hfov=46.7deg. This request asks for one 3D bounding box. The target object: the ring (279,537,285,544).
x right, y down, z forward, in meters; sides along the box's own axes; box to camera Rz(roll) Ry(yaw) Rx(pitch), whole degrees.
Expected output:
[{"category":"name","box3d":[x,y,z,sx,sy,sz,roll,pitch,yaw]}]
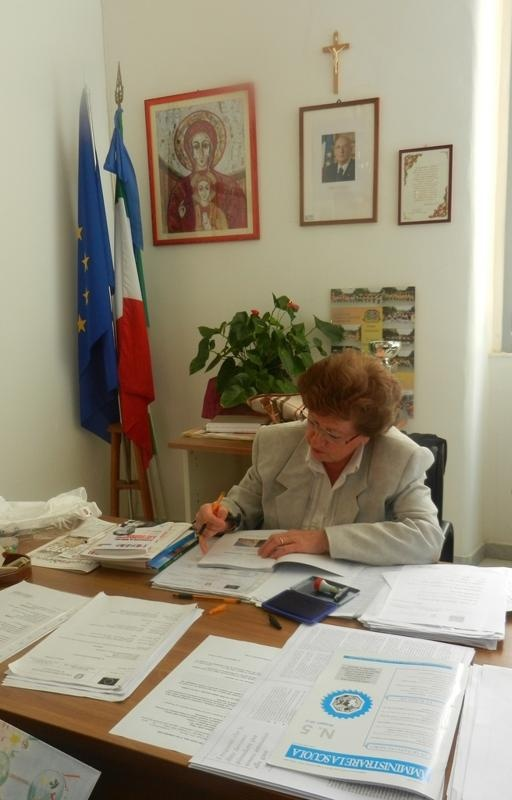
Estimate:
[{"category":"ring","box3d":[0.057,0.308,1.311,0.010,0.010,0.003,-4,9,10]}]

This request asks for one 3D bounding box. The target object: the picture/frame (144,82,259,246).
[{"category":"picture/frame","box3d":[-0.254,-1.209,2.993,0.765,0.951,0.041,4,16,24]}]

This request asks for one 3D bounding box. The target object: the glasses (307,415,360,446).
[{"category":"glasses","box3d":[0.179,0.070,1.411,0.115,0.076,0.075,-4,8,10]}]
